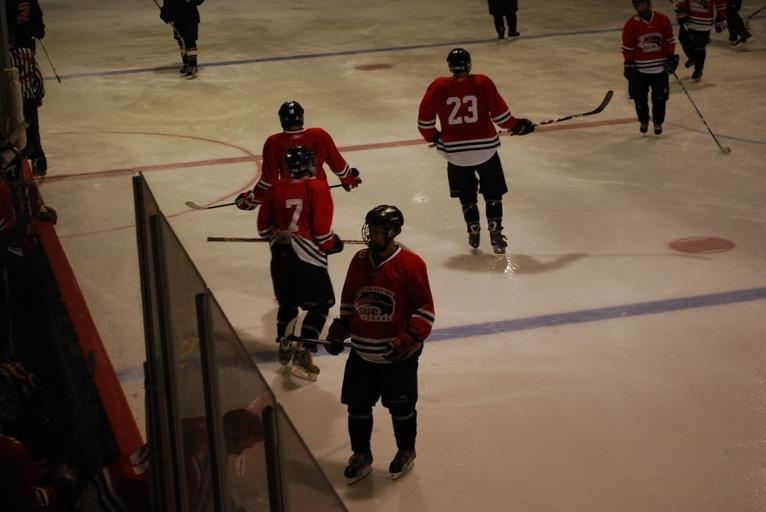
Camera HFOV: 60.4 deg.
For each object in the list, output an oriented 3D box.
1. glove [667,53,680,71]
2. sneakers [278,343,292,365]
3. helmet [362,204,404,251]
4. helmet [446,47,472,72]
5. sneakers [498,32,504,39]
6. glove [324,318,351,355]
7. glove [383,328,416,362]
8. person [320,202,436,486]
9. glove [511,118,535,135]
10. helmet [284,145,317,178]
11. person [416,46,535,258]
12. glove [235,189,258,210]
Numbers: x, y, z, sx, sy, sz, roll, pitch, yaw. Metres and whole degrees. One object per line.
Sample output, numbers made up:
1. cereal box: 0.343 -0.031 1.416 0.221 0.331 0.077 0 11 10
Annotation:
1. glove: 4.104 -2.759 9.404 0.124 0.216 0.350 3 16 27
2. sneakers: -0.747 0.763 5.226 0.114 0.176 0.125 2 5 -25
3. helmet: 0.001 -0.185 4.295 0.241 0.283 0.213 -2 15 11
4. helmet: 0.769 -1.996 6.772 0.271 0.301 0.320 5 33 7
5. sneakers: 2.732 -5.117 15.268 0.146 0.152 0.150 9 23 29
6. glove: -0.267 0.545 4.389 0.096 0.218 0.193 27 -44 -26
7. glove: 0.103 0.569 4.207 0.240 0.129 0.089 -23 15 -19
8. person: 0.001 0.580 4.340 0.669 1.789 0.425 -6 16 -3
9. glove: 1.486 -1.401 6.995 0.262 0.178 0.178 2 0 -30
10. helmet: -0.606 -0.748 5.197 0.214 0.237 0.266 4 23 15
11. person: 0.950 -1.092 6.983 1.096 2.135 0.491 -2 16 9
12. glove: -1.208 -0.502 5.955 0.247 0.171 0.095 -7 -25 32
